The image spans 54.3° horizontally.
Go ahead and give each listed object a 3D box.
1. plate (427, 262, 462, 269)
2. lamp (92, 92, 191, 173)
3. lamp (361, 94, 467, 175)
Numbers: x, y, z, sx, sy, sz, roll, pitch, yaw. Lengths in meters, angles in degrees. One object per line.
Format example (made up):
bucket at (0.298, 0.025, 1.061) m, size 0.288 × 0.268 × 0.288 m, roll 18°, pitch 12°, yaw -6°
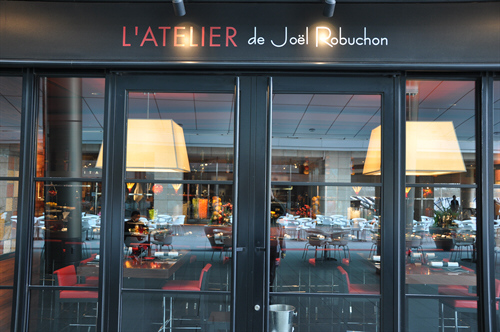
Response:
plate at (3.085, 1.563, 7.735) m, size 0.350 × 0.077 × 0.172 m, roll -1°, pitch -5°, yaw 13°
lamp at (-1.552, -0.487, 8.223) m, size 1.588 × 1.075 × 0.871 m, roll 2°, pitch 14°, yaw 12°
lamp at (2.664, -0.407, 7.875) m, size 1.165 × 0.623 × 1.113 m, roll 0°, pitch -3°, yaw 0°
